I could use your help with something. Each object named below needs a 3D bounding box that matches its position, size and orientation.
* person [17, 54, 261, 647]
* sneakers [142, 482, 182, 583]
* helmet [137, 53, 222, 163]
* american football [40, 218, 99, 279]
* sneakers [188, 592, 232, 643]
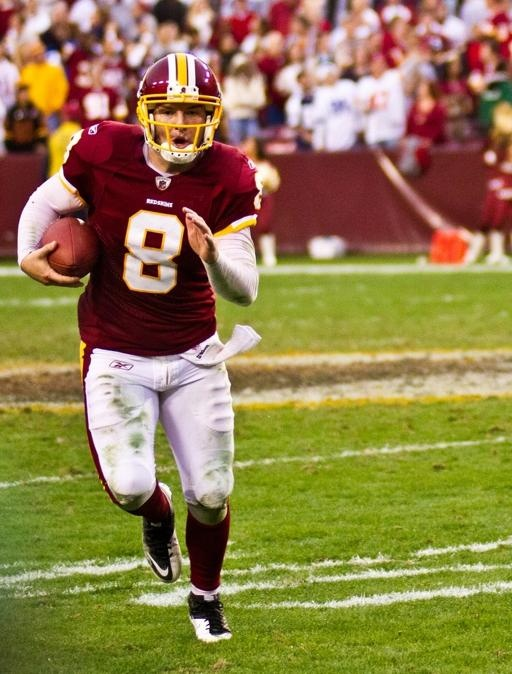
[{"bbox_3d":[-0.316,0.005,2.847,0.640,1.403,0.547,3,16,21],"label":"person"},{"bbox_3d":[-0.236,0.508,2.989,0.108,0.253,0.122,-11,4,-2],"label":"sneakers"},{"bbox_3d":[-0.191,-0.555,2.745,0.265,0.245,0.286,0,24,-5],"label":"helmet"},{"bbox_3d":[-0.477,-0.226,2.861,0.147,0.115,0.164,4,3,-13],"label":"american football"},{"bbox_3d":[-0.117,0.689,2.757,0.056,0.052,0.146,-7,7,-18],"label":"sneakers"}]
